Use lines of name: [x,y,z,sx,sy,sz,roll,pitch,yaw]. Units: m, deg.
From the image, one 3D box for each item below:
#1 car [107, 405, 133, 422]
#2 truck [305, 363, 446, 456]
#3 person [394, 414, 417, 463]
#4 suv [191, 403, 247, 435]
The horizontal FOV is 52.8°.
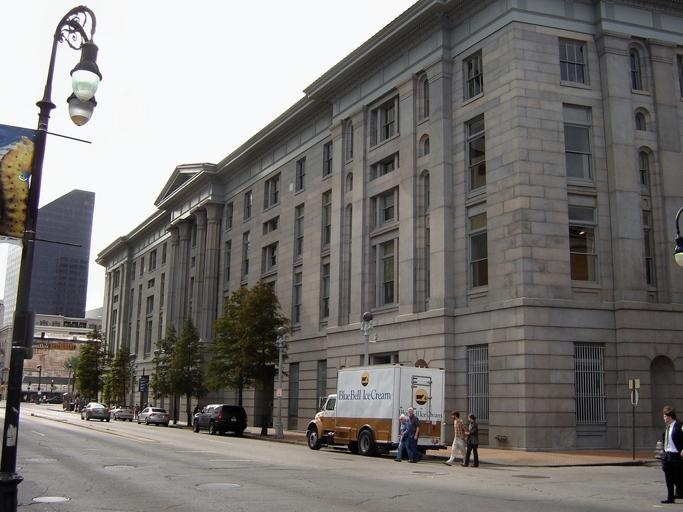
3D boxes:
car: [-21.770,15.386,68.199,1.489,1.434,1.886,19,-24,-41]
truck: [1.646,6.897,30.627,2.942,3.336,6.511,11,-16,-32]
person: [2.589,6.971,27.001,0.724,1.961,0.781,-3,-18,17]
suv: [-7.893,10.492,44.866,1.855,1.532,4.067,11,-14,-32]
